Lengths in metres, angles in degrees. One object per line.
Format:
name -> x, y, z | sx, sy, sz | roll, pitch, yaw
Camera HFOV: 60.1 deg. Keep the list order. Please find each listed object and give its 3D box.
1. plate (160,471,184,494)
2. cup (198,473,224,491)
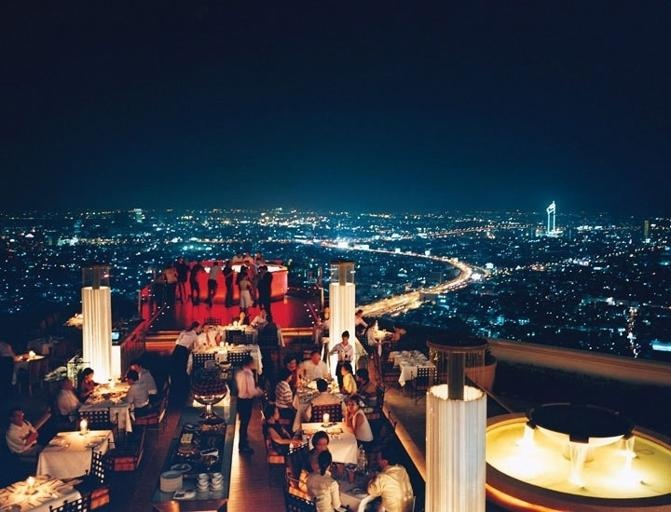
plate -> -2.462, 3.365, 8.652 | 0.283, 0.161, 0.271 | 1, 1, -5
cup -> -1.872, 3.360, 8.633 | 0.292, 0.121, 0.279 | 1, 3, 0
